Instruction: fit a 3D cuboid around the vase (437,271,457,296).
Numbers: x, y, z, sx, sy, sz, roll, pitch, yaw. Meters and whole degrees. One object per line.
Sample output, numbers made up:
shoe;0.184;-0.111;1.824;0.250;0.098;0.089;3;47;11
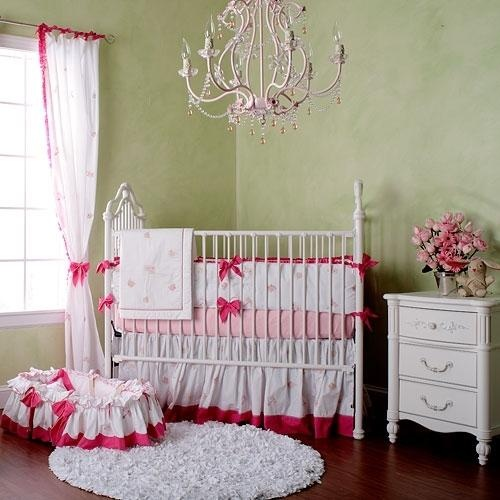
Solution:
vase;0.970;0.164;2.502;0.079;0.107;0.093;0;-6;1

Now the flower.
flower;1.045;-0.042;2.609;0.288;0.374;0.311;-4;5;-21
